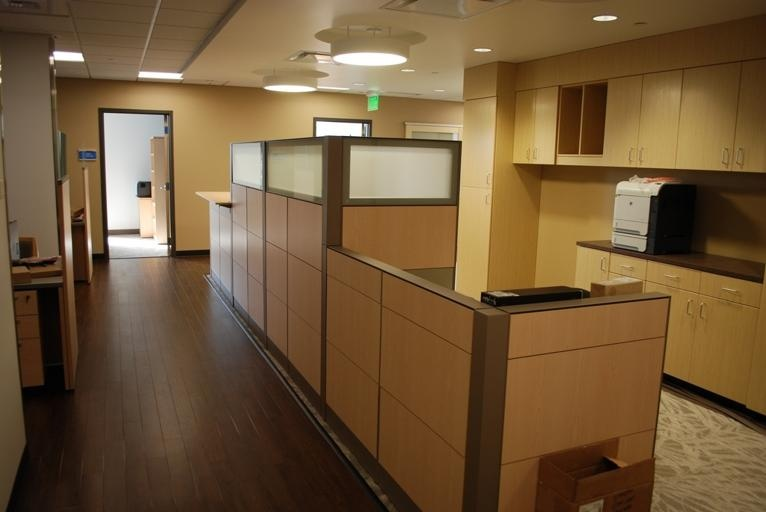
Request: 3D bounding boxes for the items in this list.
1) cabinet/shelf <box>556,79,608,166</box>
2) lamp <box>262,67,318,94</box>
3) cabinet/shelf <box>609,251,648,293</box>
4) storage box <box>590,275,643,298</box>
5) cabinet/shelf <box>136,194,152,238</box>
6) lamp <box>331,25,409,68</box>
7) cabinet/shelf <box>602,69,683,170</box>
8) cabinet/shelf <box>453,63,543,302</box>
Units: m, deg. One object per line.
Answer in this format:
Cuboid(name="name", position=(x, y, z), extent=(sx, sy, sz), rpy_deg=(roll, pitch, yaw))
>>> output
Cuboid(name="cabinet/shelf", position=(2.475, -1.692, 6.855), extent=(0.552, 0.886, 0.492), rpy_deg=(7, 14, 26))
Cuboid(name="lamp", position=(-1.505, -2.859, 8.888), extent=(0.814, 0.291, 0.661), rpy_deg=(-1, 13, -9))
Cuboid(name="cabinet/shelf", position=(2.365, 0.146, 5.216), extent=(0.248, 0.391, 0.389), rpy_deg=(1, 3, -12))
Cuboid(name="storage box", position=(1.674, 0.229, 3.923), extent=(0.299, 0.110, 0.310), rpy_deg=(9, 15, 33))
Cuboid(name="cabinet/shelf", position=(-5.408, -0.926, 12.359), extent=(0.309, 0.775, 0.809), rpy_deg=(-3, 14, -18))
Cuboid(name="lamp", position=(-0.153, -2.394, 6.231), extent=(0.883, 0.332, 0.523), rpy_deg=(0, 13, -4))
Cuboid(name="cabinet/shelf", position=(2.900, -1.514, 6.025), extent=(0.428, 1.044, 1.024), rpy_deg=(-4, 11, -25))
Cuboid(name="cabinet/shelf", position=(1.633, -1.022, 7.631), extent=(1.120, 3.185, 0.674), rpy_deg=(3, 12, 13))
